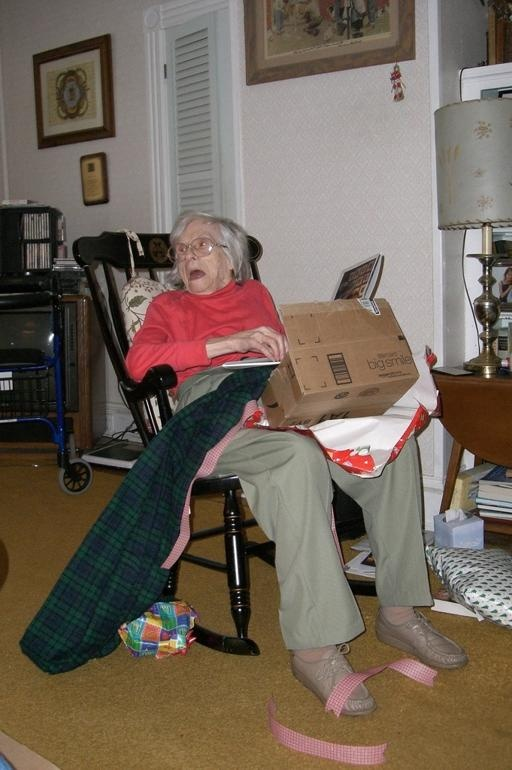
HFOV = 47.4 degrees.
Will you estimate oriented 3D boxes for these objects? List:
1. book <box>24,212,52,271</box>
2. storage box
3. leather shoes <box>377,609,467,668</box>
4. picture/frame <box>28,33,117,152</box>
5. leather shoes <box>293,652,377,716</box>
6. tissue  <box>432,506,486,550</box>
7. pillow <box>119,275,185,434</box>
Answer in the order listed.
[{"bbox_3d":[-1.203,-0.793,3.213,0.186,0.304,0.065,0,5,25],"label":"book"},{"bbox_3d":[0.122,-0.024,1.227,0.329,0.240,0.223,-10,-16,-24],"label":"storage box"},{"bbox_3d":[0.341,0.524,1.254,0.192,0.077,0.074,8,25,41],"label":"leather shoes"},{"bbox_3d":[-1.046,-1.719,3.389,0.827,0.719,0.058,2,10,39],"label":"picture/frame"},{"bbox_3d":[0.135,0.521,1.085,0.067,0.073,0.163,-19,22,-36],"label":"leather shoes"},{"bbox_3d":[0.587,0.417,1.735,0.125,0.131,0.120,-5,7,-34],"label":"tissue "},{"bbox_3d":[-0.313,-0.129,1.724,0.256,0.437,0.114,-6,-4,-31],"label":"pillow"}]
